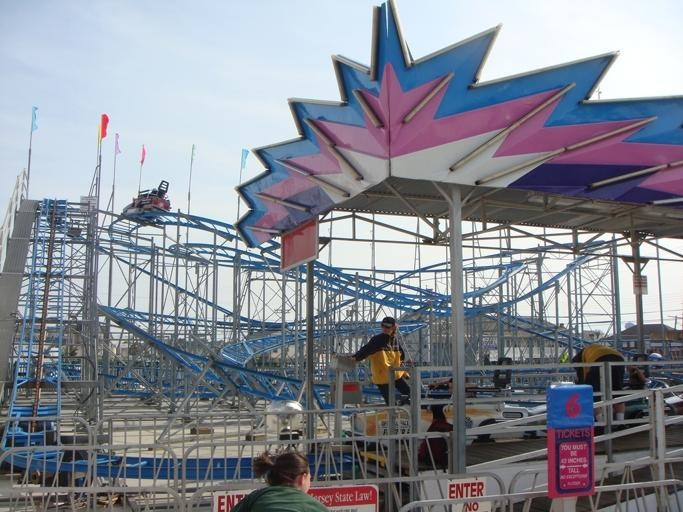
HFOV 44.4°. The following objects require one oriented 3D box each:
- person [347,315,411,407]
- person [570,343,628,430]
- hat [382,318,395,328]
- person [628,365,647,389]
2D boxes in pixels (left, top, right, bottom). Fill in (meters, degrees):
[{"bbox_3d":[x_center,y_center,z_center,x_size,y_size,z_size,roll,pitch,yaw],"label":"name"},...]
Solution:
[{"bbox_3d":[0.559,1.460,11.577,0.742,1.210,1.478,-2,-12,6],"label":"person"},{"bbox_3d":[3.627,1.742,11.674,0.674,1.114,1.528,-4,-13,16],"label":"person"},{"bbox_3d":[0.665,0.934,11.681,0.199,0.136,0.312,-1,-12,3],"label":"hat"},{"bbox_3d":[4.678,1.911,13.141,0.281,0.461,1.717,-5,-13,18],"label":"person"}]
